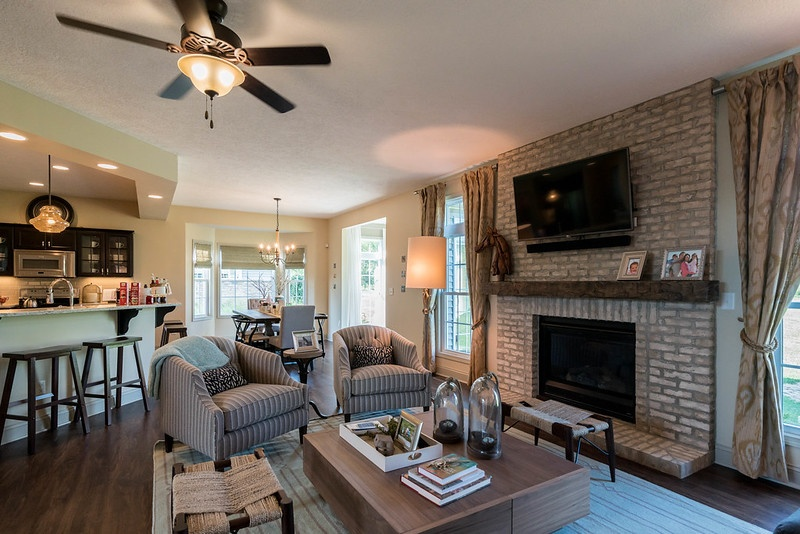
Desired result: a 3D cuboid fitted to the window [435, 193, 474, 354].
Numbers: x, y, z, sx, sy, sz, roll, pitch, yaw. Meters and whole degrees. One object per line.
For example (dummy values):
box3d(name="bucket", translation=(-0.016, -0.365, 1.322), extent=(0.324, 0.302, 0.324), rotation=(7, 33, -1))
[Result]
box3d(name="window", translation=(0.777, 0.535, 7.634), extent=(0.091, 1.758, 0.702), rotation=(-4, 5, -42))

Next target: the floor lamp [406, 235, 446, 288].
box3d(name="floor lamp", translation=(0.473, -0.040, 6.321), extent=(0.581, 0.623, 0.579), rotation=(-1, -6, 22))

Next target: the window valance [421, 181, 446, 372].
box3d(name="window valance", translation=(0.439, 0.306, 7.889), extent=(0.264, 3.239, 0.685), rotation=(-7, 17, -14))

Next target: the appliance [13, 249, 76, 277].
box3d(name="appliance", translation=(-5.588, -0.049, 8.077), extent=(0.682, 0.418, 0.428), rotation=(4, -6, -42))

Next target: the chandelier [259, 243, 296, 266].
box3d(name="chandelier", translation=(-2.699, -0.270, 10.909), extent=(0.672, 0.411, 0.631), rotation=(-2, -8, 12))

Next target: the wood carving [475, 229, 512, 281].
box3d(name="wood carving", translation=(1.218, -0.172, 6.631), extent=(0.244, 0.712, 0.410), rotation=(0, -2, -39))

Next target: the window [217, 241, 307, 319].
box3d(name="window", translation=(-2.922, 0.247, 10.611), extent=(1.720, 1.513, 0.553), rotation=(2, -2, -36))

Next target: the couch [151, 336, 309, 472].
box3d(name="couch", translation=(-1.646, 1.228, 5.309), extent=(1.376, 1.197, 1.258), rotation=(-3, -4, 34))

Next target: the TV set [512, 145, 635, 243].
box3d(name="TV set", translation=(1.982, -0.805, 5.729), extent=(0.094, 0.764, 1.279), rotation=(-6, 1, -41))

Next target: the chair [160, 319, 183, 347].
box3d(name="chair", translation=(-3.451, 0.999, 7.730), extent=(0.230, 0.374, 0.662), rotation=(2, -3, -29))

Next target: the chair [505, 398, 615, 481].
box3d(name="chair", translation=(1.483, 1.682, 4.981), extent=(0.593, 0.595, 0.989), rotation=(-3, 3, -27))

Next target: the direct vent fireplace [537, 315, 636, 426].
box3d(name="direct vent fireplace", translation=(2.242, 1.117, 5.883), extent=(0.462, 1.125, 1.329), rotation=(-2, 3, -38))

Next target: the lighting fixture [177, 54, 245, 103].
box3d(name="lighting fixture", translation=(-1.489, -1.535, 4.047), extent=(0.386, 0.191, 0.381), rotation=(-2, -15, 6))

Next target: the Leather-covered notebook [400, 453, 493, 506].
box3d(name="Leather-covered notebook", translation=(0.313, 1.640, 3.955), extent=(0.409, 0.093, 0.358), rotation=(-1, 3, -40))

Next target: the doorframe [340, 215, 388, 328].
box3d(name="doorframe", translation=(-0.761, 0.182, 10.543), extent=(0.906, 2.114, 0.487), rotation=(-1, -1, -8))
